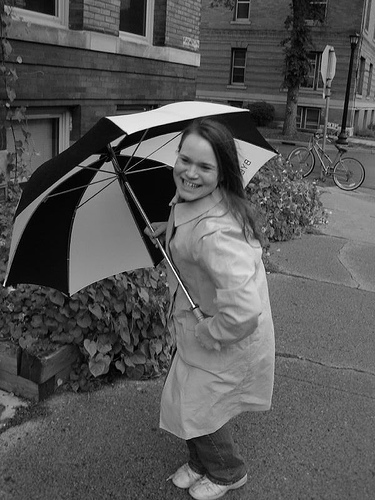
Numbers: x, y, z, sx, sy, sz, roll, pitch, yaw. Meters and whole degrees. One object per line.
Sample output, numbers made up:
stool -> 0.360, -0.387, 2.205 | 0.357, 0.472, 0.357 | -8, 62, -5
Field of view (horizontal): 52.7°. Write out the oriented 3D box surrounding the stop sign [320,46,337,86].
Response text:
stop sign -> 4.521, -5.934, 12.179 | 0.402, 1.473, 1.711 | 4, 8, 20

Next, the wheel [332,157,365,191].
wheel -> 4.906, -2.352, 11.697 | 1.035, 0.300, 1.444 | 7, -23, 26

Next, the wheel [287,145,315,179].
wheel -> 3.701, -2.862, 12.289 | 0.833, 1.347, 0.112 | 3, -32, 20
